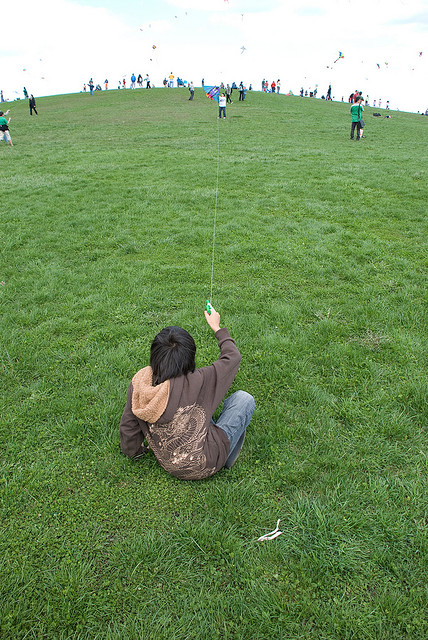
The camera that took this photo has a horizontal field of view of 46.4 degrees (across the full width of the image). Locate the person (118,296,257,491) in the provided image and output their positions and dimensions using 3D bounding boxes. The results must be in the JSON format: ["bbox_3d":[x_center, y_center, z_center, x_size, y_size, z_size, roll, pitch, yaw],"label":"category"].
[{"bbox_3d":[-0.211,0.512,3.643,0.900,1.238,0.787,-15,30,-17],"label":"person"}]

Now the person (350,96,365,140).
[{"bbox_3d":[5.536,-7.865,19.475,0.466,1.631,3.705,4,25,15],"label":"person"}]
